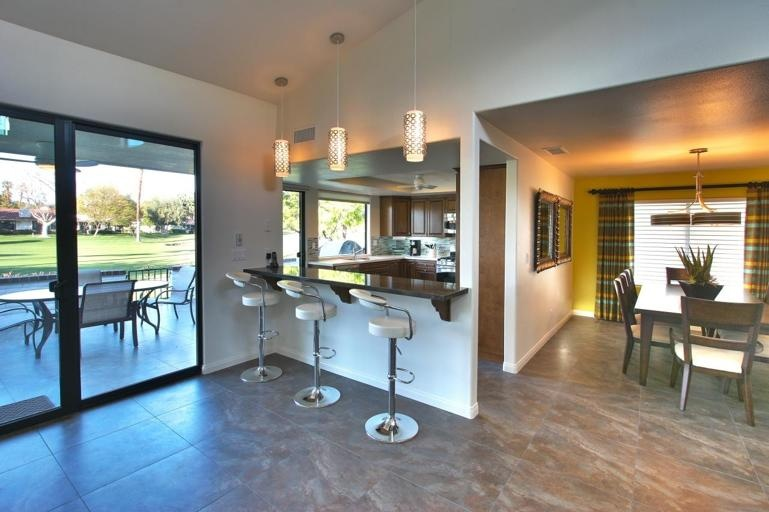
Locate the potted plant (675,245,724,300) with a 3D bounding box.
[{"bbox_3d":[4.000,0.158,6.248,0.540,0.654,0.540,2,-13,-8],"label":"potted plant"}]

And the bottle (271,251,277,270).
[{"bbox_3d":[-1.414,0.046,6.274,0.094,0.172,0.248,-2,12,-12],"label":"bottle"}]

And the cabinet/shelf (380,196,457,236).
[{"bbox_3d":[0.730,-0.868,10.406,1.139,0.548,0.586,-1,-2,23],"label":"cabinet/shelf"}]

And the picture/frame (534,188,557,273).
[{"bbox_3d":[2.317,-0.361,6.943,0.060,1.128,1.126,2,4,32],"label":"picture/frame"}]

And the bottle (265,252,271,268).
[{"bbox_3d":[-1.499,0.036,6.357,0.083,0.175,0.309,-3,12,-15],"label":"bottle"}]

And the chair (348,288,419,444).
[{"bbox_3d":[0.022,1.054,5.166,0.660,1.376,1.009,0,12,-2],"label":"chair"}]

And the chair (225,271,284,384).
[{"bbox_3d":[-1.608,0.785,6.078,0.578,1.244,0.923,-4,13,-18],"label":"chair"}]

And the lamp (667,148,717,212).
[{"bbox_3d":[4.398,-1.049,6.809,0.352,0.887,1.961,8,14,31],"label":"lamp"}]
